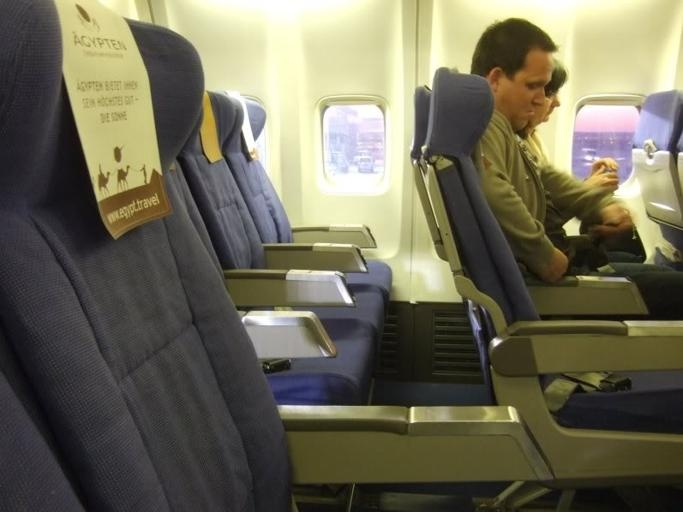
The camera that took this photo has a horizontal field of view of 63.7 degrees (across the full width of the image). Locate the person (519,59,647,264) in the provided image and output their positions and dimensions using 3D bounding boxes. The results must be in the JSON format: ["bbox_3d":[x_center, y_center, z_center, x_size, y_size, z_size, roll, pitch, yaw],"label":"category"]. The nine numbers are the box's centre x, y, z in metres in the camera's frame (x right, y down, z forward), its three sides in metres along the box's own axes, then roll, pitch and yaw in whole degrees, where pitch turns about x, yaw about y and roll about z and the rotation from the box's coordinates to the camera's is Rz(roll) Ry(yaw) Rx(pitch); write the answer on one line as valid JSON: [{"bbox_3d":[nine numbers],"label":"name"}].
[{"bbox_3d":[1.045,-0.450,2.395,0.482,0.999,0.305,-11,34,5],"label":"person"}]
